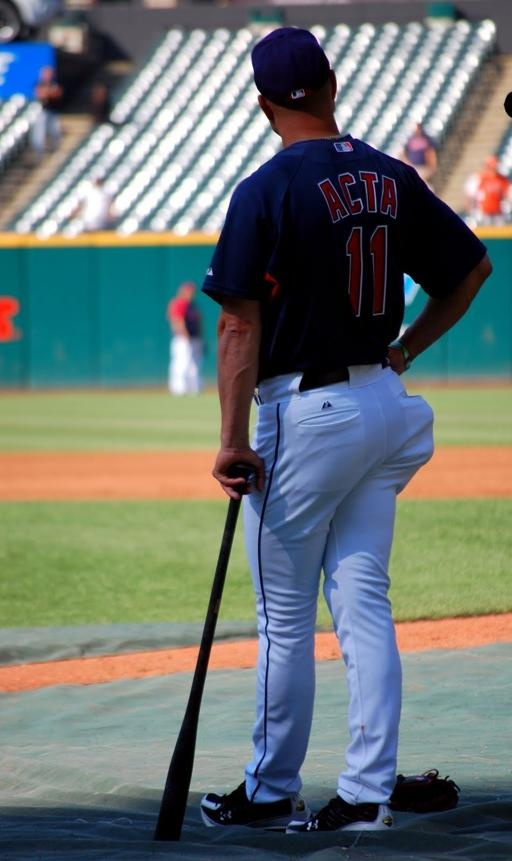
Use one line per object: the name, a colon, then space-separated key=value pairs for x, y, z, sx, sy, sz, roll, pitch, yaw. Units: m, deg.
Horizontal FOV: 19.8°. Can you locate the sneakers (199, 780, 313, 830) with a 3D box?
sneakers: x=-0.003 y=0.908 z=3.519 sx=0.268 sy=0.129 sz=0.099 roll=3 pitch=-11 yaw=11

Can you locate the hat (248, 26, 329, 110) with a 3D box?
hat: x=0.085 y=-0.843 z=3.443 sx=0.146 sy=0.197 sz=0.123 roll=-14 pitch=-40 yaw=6

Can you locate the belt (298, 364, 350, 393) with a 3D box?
belt: x=0.155 y=-0.117 z=3.351 sx=0.060 sy=0.079 sz=0.024 roll=29 pitch=-8 yaw=8

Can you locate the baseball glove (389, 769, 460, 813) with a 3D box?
baseball glove: x=0.407 y=0.864 z=3.505 sx=0.135 sy=0.054 sz=0.097 roll=-9 pitch=4 yaw=-19

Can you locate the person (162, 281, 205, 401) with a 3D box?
person: x=-0.835 y=-1.074 z=17.478 sx=0.415 sy=1.394 sz=1.792 roll=5 pitch=7 yaw=-3

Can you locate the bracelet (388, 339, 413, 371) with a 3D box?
bracelet: x=0.349 y=-0.177 z=3.631 sx=0.039 sy=0.076 sz=0.057 roll=14 pitch=-35 yaw=-34

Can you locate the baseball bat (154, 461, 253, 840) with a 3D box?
baseball bat: x=-0.144 y=0.618 z=3.424 sx=0.122 sy=1.460 sz=0.117 roll=-11 pitch=50 yaw=-21

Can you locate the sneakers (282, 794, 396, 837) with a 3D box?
sneakers: x=0.202 y=0.894 z=3.344 sx=0.271 sy=0.105 sz=0.095 roll=-4 pitch=-20 yaw=11
